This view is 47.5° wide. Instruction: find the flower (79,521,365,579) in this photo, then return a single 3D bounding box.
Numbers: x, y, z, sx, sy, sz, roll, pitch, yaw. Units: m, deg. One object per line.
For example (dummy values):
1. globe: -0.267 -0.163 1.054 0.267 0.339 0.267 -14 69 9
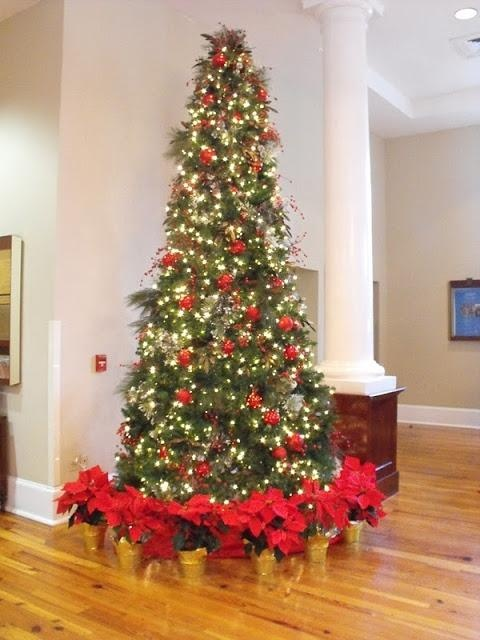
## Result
1. flower: -0.092 1.078 2.510 0.769 0.104 0.497 0 -4 -8
